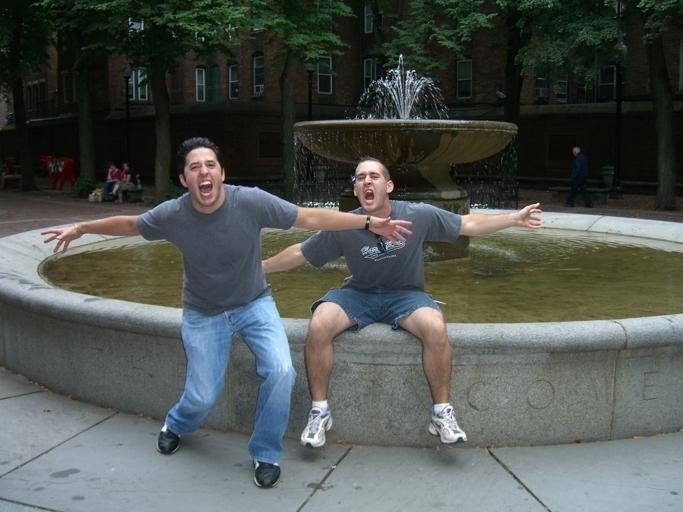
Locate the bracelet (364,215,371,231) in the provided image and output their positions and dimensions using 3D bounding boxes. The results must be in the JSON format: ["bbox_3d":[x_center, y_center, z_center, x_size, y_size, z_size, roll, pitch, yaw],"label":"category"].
[{"bbox_3d":[0.182,-0.229,4.944,0.049,0.080,0.081,13,-21,8],"label":"bracelet"}]

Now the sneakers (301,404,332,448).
[{"bbox_3d":[-0.175,1.186,4.898,0.147,0.168,0.355,0,10,11],"label":"sneakers"}]

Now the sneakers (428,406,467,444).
[{"bbox_3d":[0.711,1.159,4.857,0.163,0.213,0.358,-5,4,-30],"label":"sneakers"}]

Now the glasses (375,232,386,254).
[{"bbox_3d":[0.280,-0.099,5.118,0.059,0.145,0.034,-8,48,11],"label":"glasses"}]

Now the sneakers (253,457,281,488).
[{"bbox_3d":[-0.498,1.423,4.619,0.185,0.133,0.209,-2,8,-3],"label":"sneakers"}]

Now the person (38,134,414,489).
[{"bbox_3d":[-0.740,0.289,4.984,1.453,2.235,0.843,2,9,19],"label":"person"}]
